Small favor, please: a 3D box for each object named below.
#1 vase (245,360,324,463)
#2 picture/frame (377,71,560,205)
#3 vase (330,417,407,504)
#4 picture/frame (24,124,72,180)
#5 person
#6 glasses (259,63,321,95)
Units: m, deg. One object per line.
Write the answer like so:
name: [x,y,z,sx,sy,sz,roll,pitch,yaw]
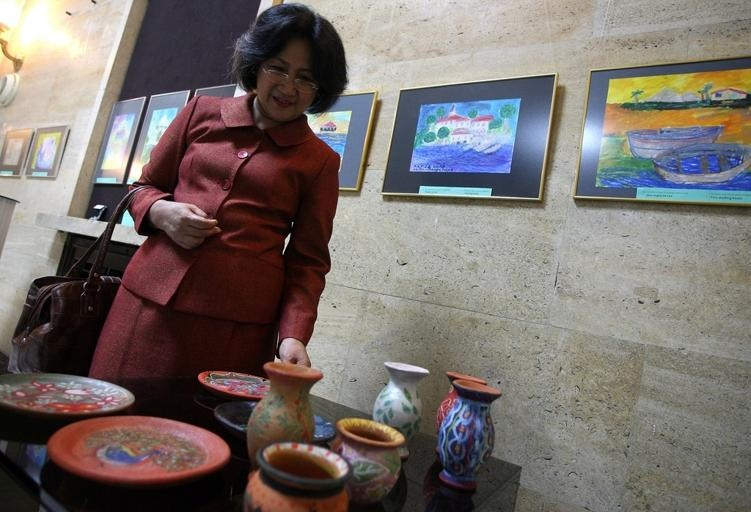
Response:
vase: [-0.214,0.382,1.021,0.161,0.235,0.156,19,-17,-33]
picture/frame: [0.483,-0.566,2.191,0.831,0.549,0.026,3,-15,24]
vase: [-0.026,0.471,1.120,0.197,0.149,0.210,15,-8,-15]
picture/frame: [-3.131,-0.987,4.286,0.620,0.677,0.054,10,-11,37]
person: [-0.496,-0.214,1.567,0.773,1.241,0.350,6,-3,12]
glasses: [-0.293,-0.594,1.500,0.191,0.080,0.044,6,-2,-8]
